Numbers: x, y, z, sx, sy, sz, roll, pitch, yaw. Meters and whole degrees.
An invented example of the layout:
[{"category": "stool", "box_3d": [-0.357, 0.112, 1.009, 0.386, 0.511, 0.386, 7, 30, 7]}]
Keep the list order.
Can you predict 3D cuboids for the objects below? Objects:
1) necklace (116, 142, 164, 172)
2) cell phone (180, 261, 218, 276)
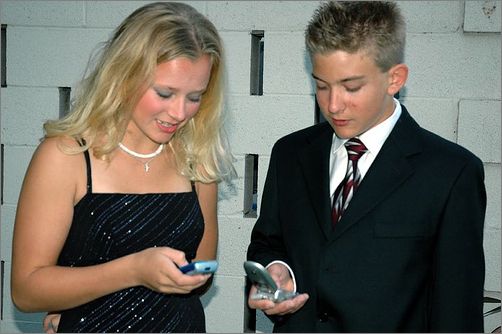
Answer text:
[{"category": "necklace", "box_3d": [-0.567, -0.061, 2.954, 0.139, 0.168, 0.010, -3, -32, -16]}, {"category": "cell phone", "box_3d": [-0.238, 0.458, 2.639, 0.174, 0.075, 0.126, 2, 5, -23]}]
